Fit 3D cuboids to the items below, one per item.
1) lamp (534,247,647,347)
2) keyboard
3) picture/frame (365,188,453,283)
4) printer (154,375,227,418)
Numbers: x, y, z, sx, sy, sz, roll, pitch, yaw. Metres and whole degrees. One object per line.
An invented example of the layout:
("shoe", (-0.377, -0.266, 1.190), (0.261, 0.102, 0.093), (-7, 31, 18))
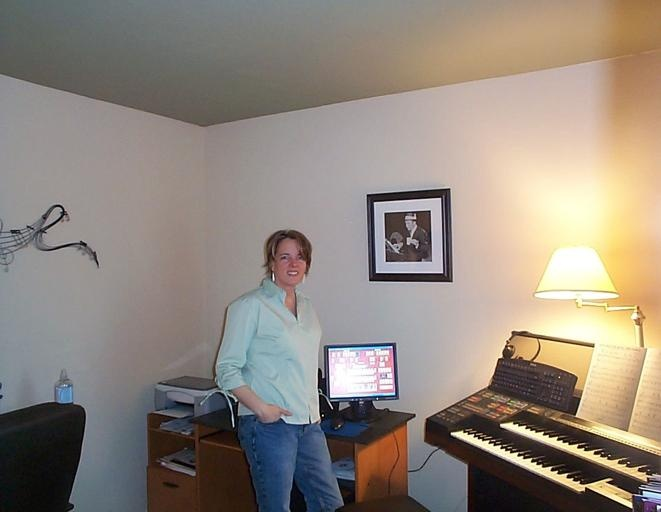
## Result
("lamp", (1.458, 0.277, 2.927), (0.594, 0.682, 0.480), (0, -12, 8))
("keyboard", (1.099, 0.702, 2.721), (0.083, 0.204, 0.359), (18, -6, -30))
("picture/frame", (0.577, -0.138, 3.523), (0.582, 0.669, 0.047), (-2, -1, 25))
("printer", (-1.056, 1.025, 3.697), (0.339, 0.163, 0.316), (-2, -6, 31))
